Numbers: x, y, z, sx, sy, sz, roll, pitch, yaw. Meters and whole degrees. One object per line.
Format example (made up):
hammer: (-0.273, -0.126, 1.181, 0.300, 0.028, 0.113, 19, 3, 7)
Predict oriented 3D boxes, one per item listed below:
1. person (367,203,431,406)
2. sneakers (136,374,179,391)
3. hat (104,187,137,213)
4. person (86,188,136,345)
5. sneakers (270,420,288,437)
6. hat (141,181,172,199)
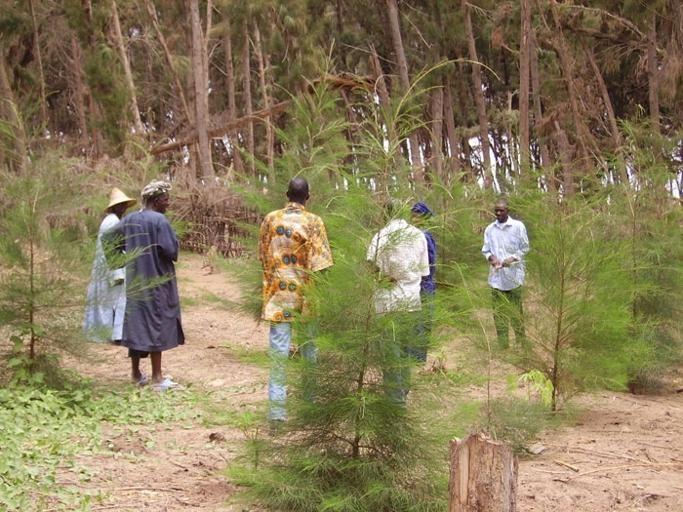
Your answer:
person: (0.760, 0.565, 12.741, 0.595, 2.336, 0.998, 3, 5, 33)
sneakers: (-2.664, 1.831, 14.969, 0.410, 0.167, 0.257, -1, -2, 11)
hat: (-3.393, -0.929, 15.773, 0.454, 0.270, 0.484, -12, -12, -20)
person: (-3.369, 0.260, 14.894, 0.604, 2.136, 1.480, 0, 4, -12)
sneakers: (-0.773, 2.059, 12.534, 0.173, 0.194, 0.085, 3, 3, 7)
hat: (-2.657, -0.919, 14.891, 0.327, 0.131, 0.254, -25, 28, -8)
